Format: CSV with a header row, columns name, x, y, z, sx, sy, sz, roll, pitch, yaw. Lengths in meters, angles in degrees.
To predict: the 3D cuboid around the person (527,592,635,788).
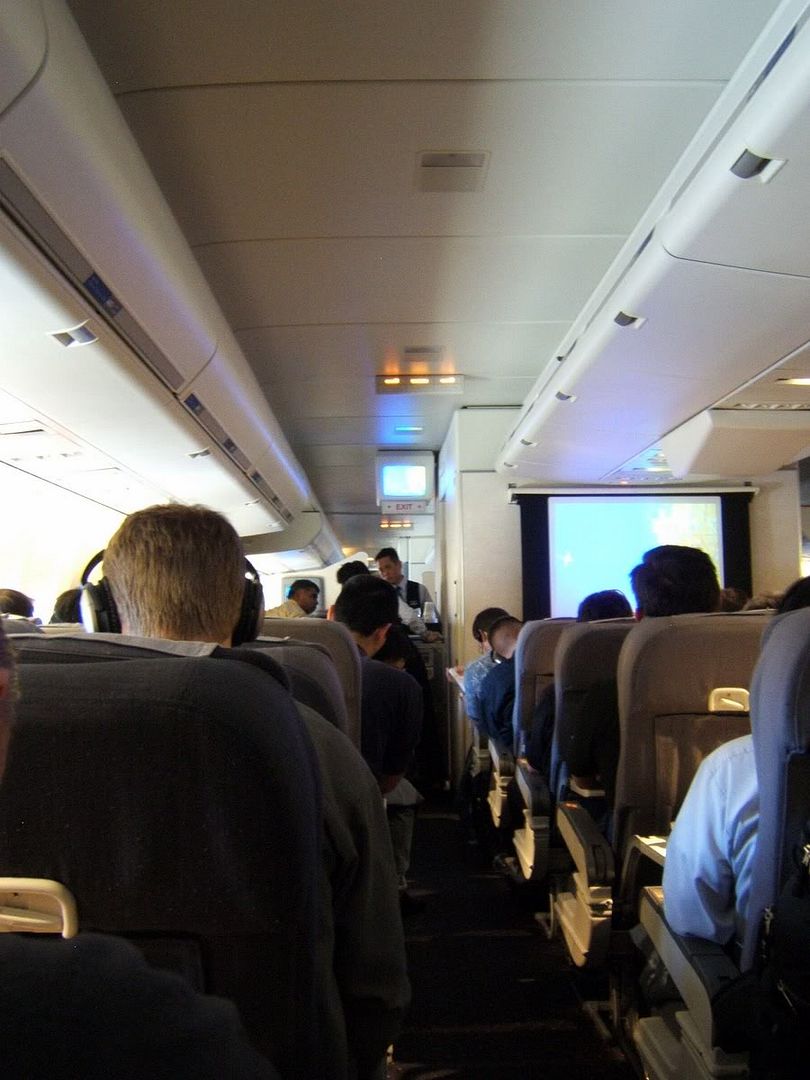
name,x,y,z,sx,sy,sz,roll,pitch,yaw
person,0.717,0.536,3.462,0.496,0.851,0.703,3,-12,0
